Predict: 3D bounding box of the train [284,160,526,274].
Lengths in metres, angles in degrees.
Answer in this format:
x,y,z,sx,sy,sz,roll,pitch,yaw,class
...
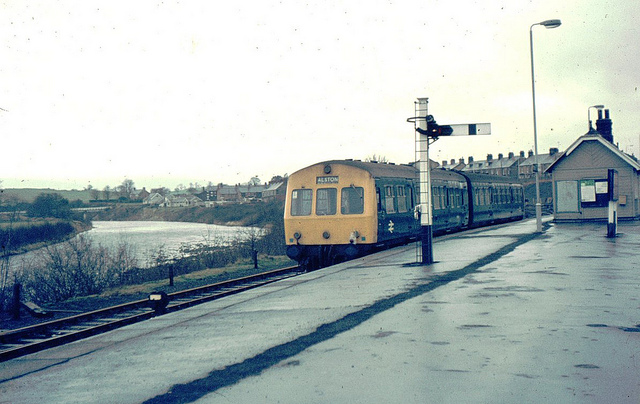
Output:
x,y,z,sx,sy,sz,roll,pitch,yaw,class
6.825,0.040,34.091,3.576,3.871,28.212,-3,0,30,train

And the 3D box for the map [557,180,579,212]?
x,y,z,sx,sy,sz,roll,pitch,yaw,class
15.431,-0.327,35.766,1.709,2.323,0.221,-2,18,20,map
